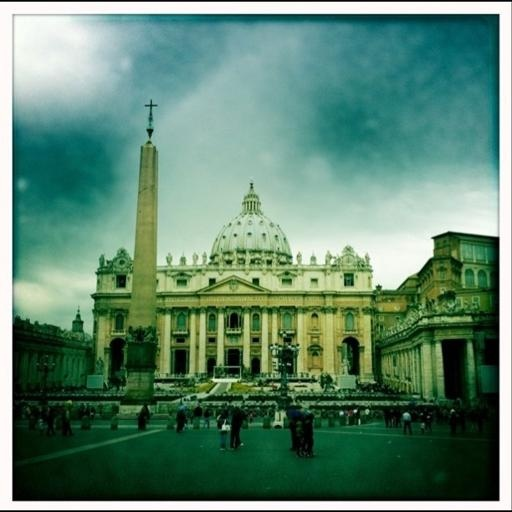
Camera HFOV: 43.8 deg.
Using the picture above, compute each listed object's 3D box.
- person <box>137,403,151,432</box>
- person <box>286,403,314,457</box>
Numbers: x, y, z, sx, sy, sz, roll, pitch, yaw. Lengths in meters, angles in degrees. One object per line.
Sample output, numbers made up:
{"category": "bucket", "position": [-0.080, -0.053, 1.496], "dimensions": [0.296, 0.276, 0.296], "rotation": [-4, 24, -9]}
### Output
{"category": "person", "position": [-5.142, 7.425, 29.341], "dimensions": [0.491, 1.155, 1.706], "rotation": [3, -15, -10]}
{"category": "person", "position": [1.405, 5.563, 20.135], "dimensions": [0.749, 1.424, 2.487], "rotation": [0, -15, 3]}
